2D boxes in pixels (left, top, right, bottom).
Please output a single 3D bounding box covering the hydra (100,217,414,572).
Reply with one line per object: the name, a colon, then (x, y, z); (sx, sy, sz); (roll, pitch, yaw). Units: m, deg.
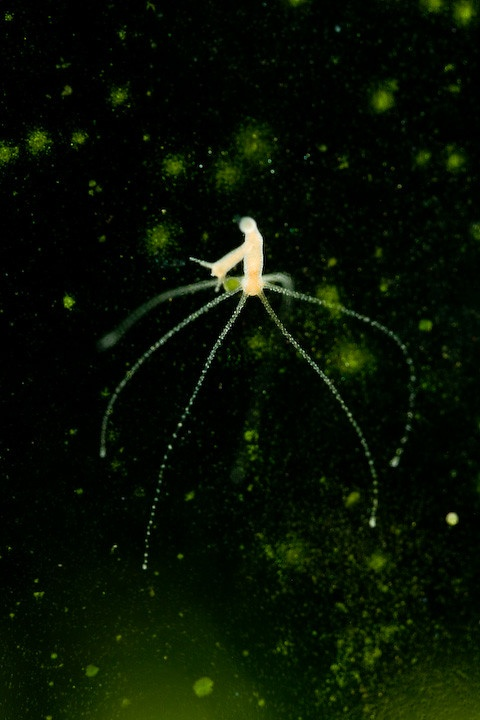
hydra: (0.048, 0.038, 1.885); (0.705, 0.700, 0.445); (-2, -85, -19)
